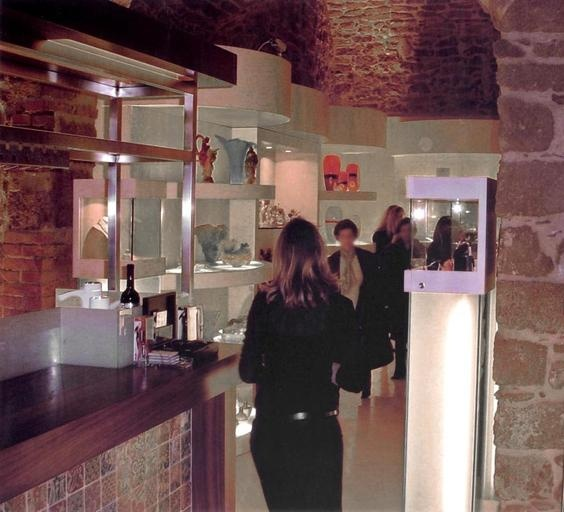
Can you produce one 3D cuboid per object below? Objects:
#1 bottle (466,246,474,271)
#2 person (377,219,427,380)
[{"bbox_3d":[0.718,0.008,2.209,0.030,0.093,0.009,1,3,-10],"label":"bottle"},{"bbox_3d":[1.009,0.351,5.200,0.230,1.392,0.660,2,3,10],"label":"person"}]
